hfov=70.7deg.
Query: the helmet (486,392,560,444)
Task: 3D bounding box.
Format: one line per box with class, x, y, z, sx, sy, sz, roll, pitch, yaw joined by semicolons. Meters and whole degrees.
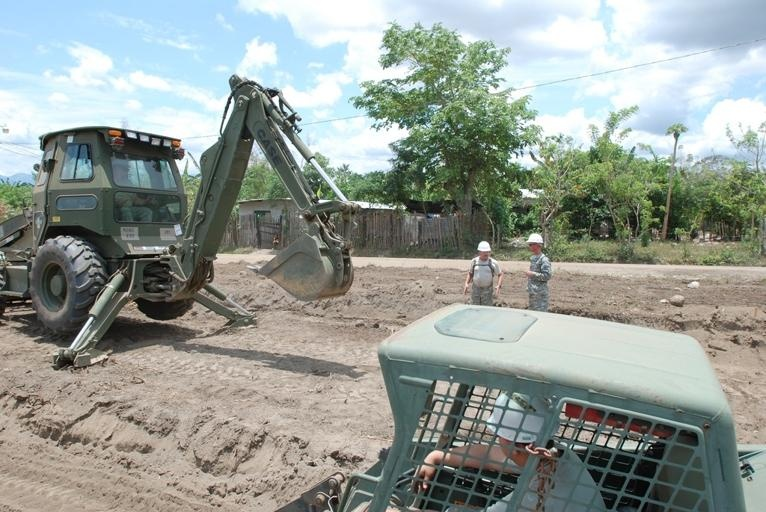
helmet;0.867;1.015;3.382;0.345;0.228;0.456;0;6;2
